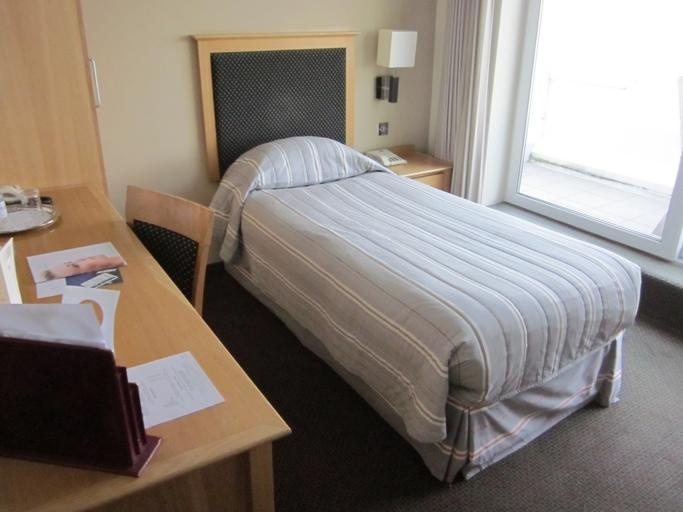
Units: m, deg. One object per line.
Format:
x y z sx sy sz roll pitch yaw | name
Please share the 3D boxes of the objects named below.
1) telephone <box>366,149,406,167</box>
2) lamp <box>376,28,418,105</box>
0.344 -0.815 4.140 0.180 0.061 0.243 -13 36 -22 | telephone
0.400 -1.483 3.998 0.263 0.521 0.252 -11 24 -29 | lamp
